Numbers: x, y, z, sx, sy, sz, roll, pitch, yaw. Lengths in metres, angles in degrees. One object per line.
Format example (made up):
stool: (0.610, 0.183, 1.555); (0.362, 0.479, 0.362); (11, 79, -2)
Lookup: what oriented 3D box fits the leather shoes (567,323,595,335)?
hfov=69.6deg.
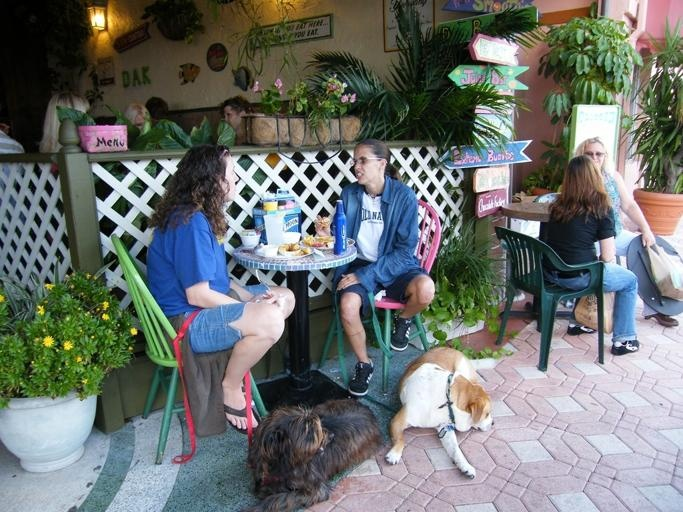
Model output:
leather shoes: (2.052, 0.643, 4.240); (0.245, 0.121, 0.095); (-4, 12, -7)

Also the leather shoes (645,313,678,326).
leather shoes: (2.875, 0.564, 4.402); (0.082, 0.099, 0.221); (-9, 10, -41)

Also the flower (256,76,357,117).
flower: (-0.226, -1.288, 3.978); (0.689, 0.384, 1.190); (-3, 14, 3)

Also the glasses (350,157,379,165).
glasses: (0.168, -0.666, 3.440); (0.175, 0.052, 0.059); (-1, 14, 14)

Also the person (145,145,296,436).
person: (-0.691, 0.186, 2.824); (0.772, 1.607, 0.571); (-9, 15, -24)

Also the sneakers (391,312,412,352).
sneakers: (0.425, 0.578, 3.505); (0.094, 0.317, 0.120); (6, -11, -1)

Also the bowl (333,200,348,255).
bowl: (-0.020, -0.187, 3.176); (0.086, 0.317, 0.245); (-3, 14, 2)

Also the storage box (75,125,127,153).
storage box: (-1.428, -0.703, 2.957); (0.276, 0.164, 0.208); (-12, 16, -30)

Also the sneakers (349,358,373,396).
sneakers: (0.129, 0.840, 3.372); (0.097, 0.140, 0.290); (6, 12, 13)

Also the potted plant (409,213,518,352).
potted plant: (1.028, 0.298, 4.331); (0.781, 1.027, 0.944); (2, 23, -30)

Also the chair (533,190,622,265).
chair: (1.842, -0.180, 3.795); (0.467, 0.451, 0.252); (4, 15, 28)

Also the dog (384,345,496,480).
dog: (0.642, 0.937, 3.035); (0.649, 0.570, 0.305); (28, -23, 4)

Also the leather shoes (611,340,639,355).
leather shoes: (2.250, 0.731, 3.894); (0.222, 0.117, 0.092); (-10, 16, -12)

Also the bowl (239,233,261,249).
bowl: (-0.609, -0.105, 3.305); (0.099, 0.083, 0.105); (1, 10, 0)
